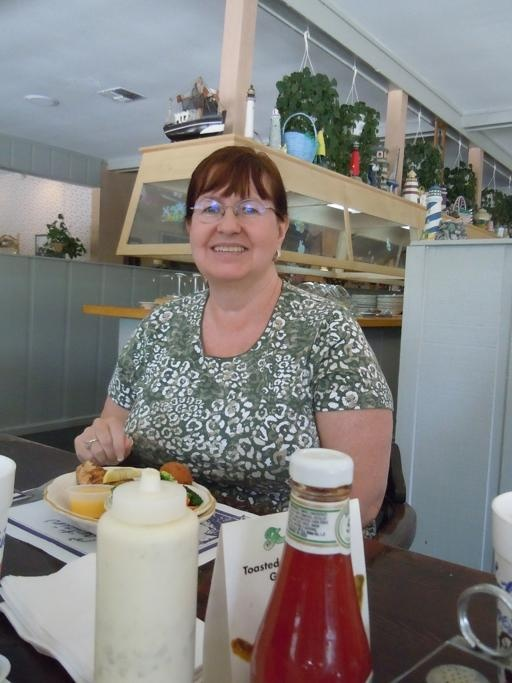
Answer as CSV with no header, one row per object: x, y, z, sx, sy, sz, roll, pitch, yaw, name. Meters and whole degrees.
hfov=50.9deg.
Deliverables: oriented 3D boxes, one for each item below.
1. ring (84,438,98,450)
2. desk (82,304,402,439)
-0.314,0.193,1.018,0.024,0.015,0.025,-5,-22,-2,ring
0.270,0.380,4.138,1.926,1.243,0.952,0,-1,17,desk
